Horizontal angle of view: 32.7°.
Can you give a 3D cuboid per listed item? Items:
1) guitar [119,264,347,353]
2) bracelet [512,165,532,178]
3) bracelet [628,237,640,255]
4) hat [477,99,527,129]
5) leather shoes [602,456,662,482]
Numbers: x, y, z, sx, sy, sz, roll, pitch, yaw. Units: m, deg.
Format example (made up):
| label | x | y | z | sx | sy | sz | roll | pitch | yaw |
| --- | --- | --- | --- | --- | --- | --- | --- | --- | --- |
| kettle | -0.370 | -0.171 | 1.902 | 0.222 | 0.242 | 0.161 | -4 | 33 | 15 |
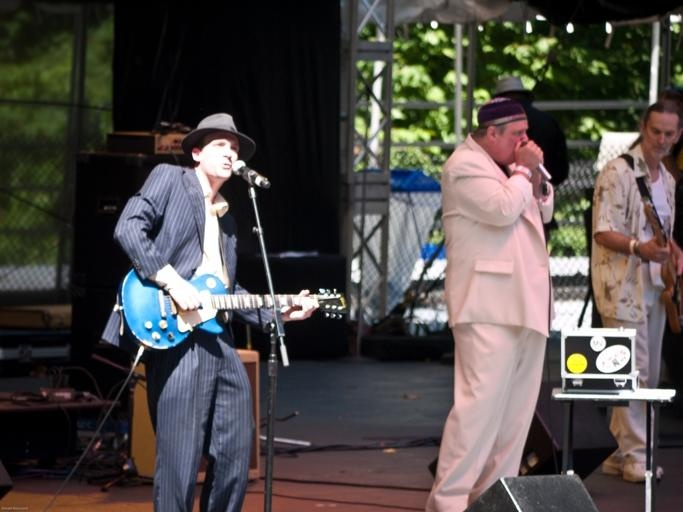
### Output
| label | x | y | z | sx | sy | sz | roll | pitch | yaw |
| --- | --- | --- | --- | --- | --- | --- | --- | --- | --- |
| guitar | -0.713 | 0.301 | 6.731 | 1.176 | 0.455 | 0.275 | 0 | 6 | -13 |
| bracelet | 1.119 | -0.521 | 7.254 | 0.093 | 0.027 | 0.096 | 31 | -1 | -5 |
| bracelet | 1.988 | -0.052 | 7.961 | 0.070 | 0.078 | 0.087 | -1 | 10 | 2 |
| hat | 0.996 | -0.888 | 7.345 | 0.244 | 0.127 | 0.177 | -4 | 5 | -6 |
| leather shoes | 1.991 | 1.499 | 8.263 | 0.187 | 0.233 | 0.540 | 0 | -7 | -33 |
